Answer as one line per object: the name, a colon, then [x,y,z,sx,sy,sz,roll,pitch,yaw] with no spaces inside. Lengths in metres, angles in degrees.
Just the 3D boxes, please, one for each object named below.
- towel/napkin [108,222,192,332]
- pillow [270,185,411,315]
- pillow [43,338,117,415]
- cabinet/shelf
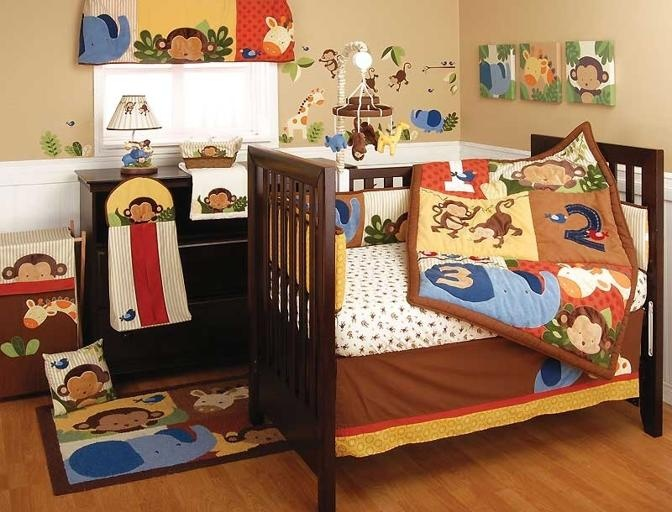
towel/napkin: [-0.993,0.111,2.814,0.386,0.552,0.157,-4,1,-24]
pillow: [0.127,-0.108,2.363,0.524,0.355,0.533,-7,18,-26]
pillow: [-1.281,0.599,2.664,0.250,0.271,0.093,-13,-9,-25]
cabinet/shelf: [-0.965,0.119,2.909,0.981,0.996,0.410,-4,8,-27]
